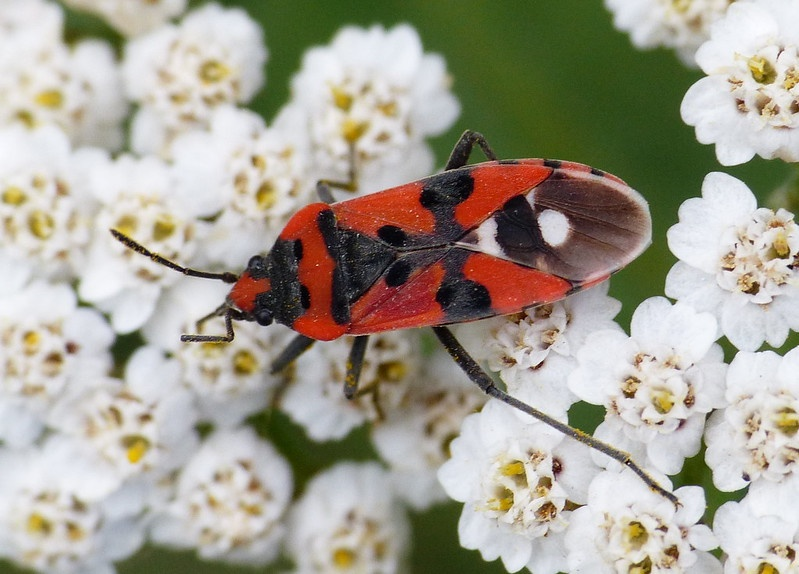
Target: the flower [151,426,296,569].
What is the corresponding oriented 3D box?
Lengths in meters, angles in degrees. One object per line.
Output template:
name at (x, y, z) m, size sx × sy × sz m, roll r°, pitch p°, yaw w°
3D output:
flower at (-0.771, 0.958, 4.638) m, size 0.638 × 0.218 × 0.588 m, roll 20°, pitch 80°, yaw -23°
